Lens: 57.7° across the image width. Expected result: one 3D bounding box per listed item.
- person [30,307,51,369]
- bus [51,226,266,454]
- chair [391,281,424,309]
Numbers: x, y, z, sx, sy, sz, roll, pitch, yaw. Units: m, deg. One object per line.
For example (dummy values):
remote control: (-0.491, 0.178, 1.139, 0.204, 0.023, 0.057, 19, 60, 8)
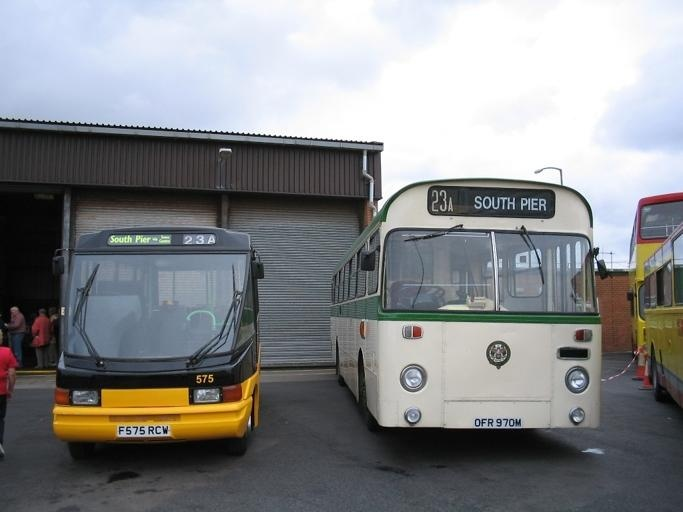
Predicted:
person: (-9.915, 2.707, 20.394, 0.535, 1.910, 1.055, 1, -1, -26)
bus: (-2.634, 1.365, 10.187, 1.946, 2.205, 3.990, 0, -8, -5)
chair: (0.913, 0.525, 8.805, 0.375, 0.391, 0.679, 3, 5, 9)
